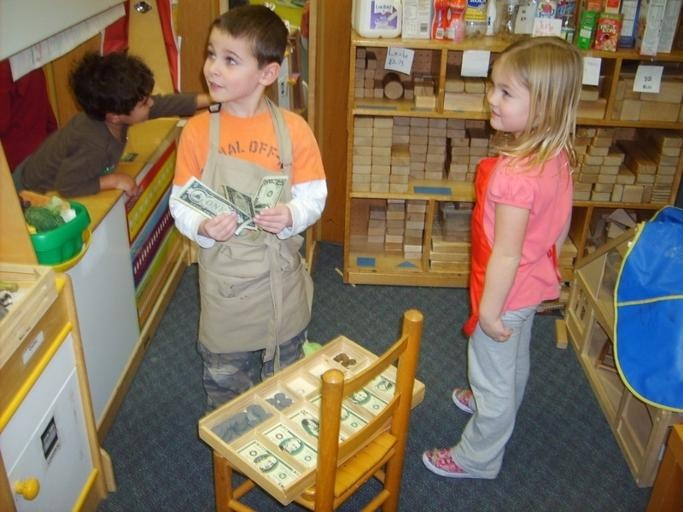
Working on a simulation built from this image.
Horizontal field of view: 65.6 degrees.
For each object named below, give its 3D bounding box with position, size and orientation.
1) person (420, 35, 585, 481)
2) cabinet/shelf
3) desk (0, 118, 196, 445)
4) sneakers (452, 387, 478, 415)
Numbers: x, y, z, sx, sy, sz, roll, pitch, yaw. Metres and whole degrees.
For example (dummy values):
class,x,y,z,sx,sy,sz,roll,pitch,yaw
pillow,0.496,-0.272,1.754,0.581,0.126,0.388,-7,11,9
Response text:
class,x,y,z,sx,sy,sz,roll,pitch,yaw
person,0.689,0.124,2.361,0.412,2.020,0.486,19,29,41
cabinet/shelf,1.011,-0.627,3.056,1.605,1.277,0.564,1,28,1
desk,-1.183,0.120,2.556,0.573,0.924,1.555,2,37,-2
sneakers,0.686,0.810,2.982,0.083,0.070,0.176,-32,59,-4
